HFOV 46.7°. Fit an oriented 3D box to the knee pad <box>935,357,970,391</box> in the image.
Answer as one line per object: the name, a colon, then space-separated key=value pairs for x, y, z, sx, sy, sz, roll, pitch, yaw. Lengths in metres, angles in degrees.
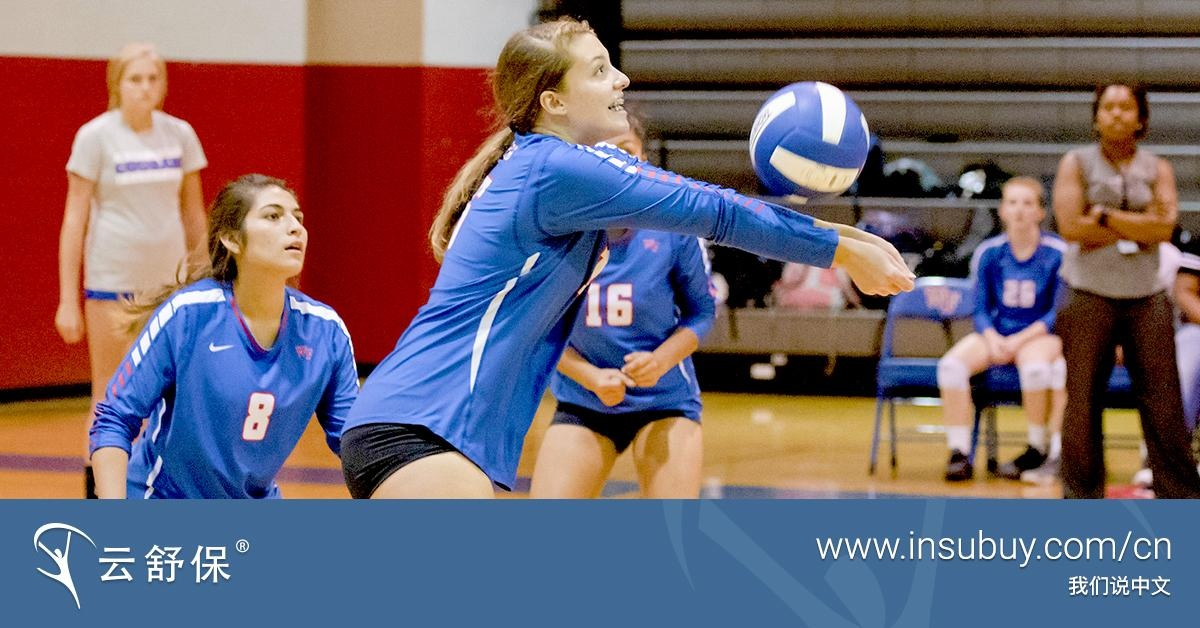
knee pad: x=1.912 y=0.325 z=7.577 sx=0.182 sy=0.163 sz=0.168 roll=1 pitch=-3 yaw=3

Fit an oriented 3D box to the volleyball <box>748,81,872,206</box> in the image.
volleyball: x=0.886 y=-0.727 z=5.954 sx=0.502 sy=0.475 sz=0.464 roll=4 pitch=6 yaw=-19

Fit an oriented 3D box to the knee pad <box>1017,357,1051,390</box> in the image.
knee pad: x=2.333 y=0.329 z=7.511 sx=0.175 sy=0.162 sz=0.121 roll=-4 pitch=3 yaw=19

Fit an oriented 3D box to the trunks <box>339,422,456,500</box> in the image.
trunks: x=-0.830 y=0.582 z=5.637 sx=0.311 sy=0.212 sz=0.383 roll=-4 pitch=-5 yaw=43

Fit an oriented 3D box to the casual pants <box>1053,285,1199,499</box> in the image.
casual pants: x=2.761 y=0.406 z=7.313 sx=0.705 sy=1.078 sz=0.129 roll=0 pitch=0 yaw=14

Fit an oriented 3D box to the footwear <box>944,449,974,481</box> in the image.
footwear: x=1.959 y=0.825 z=7.600 sx=0.104 sy=0.168 sz=0.119 roll=16 pitch=-20 yaw=-22

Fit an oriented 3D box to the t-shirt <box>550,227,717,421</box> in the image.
t-shirt: x=0.120 y=0.037 z=6.329 sx=0.654 sy=0.736 sz=0.408 roll=23 pitch=-3 yaw=8
